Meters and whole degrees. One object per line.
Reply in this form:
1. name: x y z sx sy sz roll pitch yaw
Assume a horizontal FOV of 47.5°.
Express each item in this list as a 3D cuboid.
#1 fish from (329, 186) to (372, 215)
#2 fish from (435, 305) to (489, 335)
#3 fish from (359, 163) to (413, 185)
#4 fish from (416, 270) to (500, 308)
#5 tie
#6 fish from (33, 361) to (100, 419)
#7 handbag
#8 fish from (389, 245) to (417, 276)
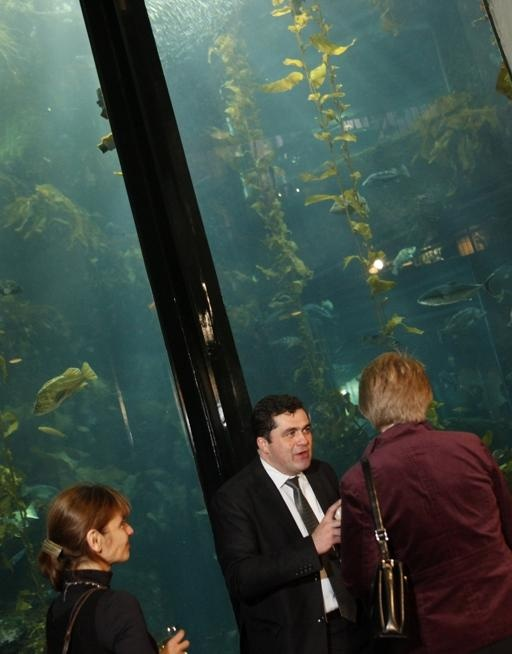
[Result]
1. fish: 0.451 -0.617 2.854 0.243 0.110 0.067 -9 -11 -35
2. fish: 0.886 -0.033 2.512 0.191 0.101 0.081 -18 -9 16
3. fish: 0.645 -0.756 2.922 0.228 0.094 0.086 -20 -9 28
4. fish: 0.913 -0.167 2.580 0.407 0.125 0.043 -13 -15 -23
5. tie: 0.186 0.787 2.259 0.109 0.687 0.085 -16 -47 -18
6. fish: -1.826 0.548 5.402 0.476 0.396 0.784 -17 -9 3
7. handbag: 0.369 0.731 1.571 0.083 0.201 0.188 -2 -40 9
8. fish: 0.692 -0.311 2.737 0.165 0.084 0.034 -38 -30 -39
